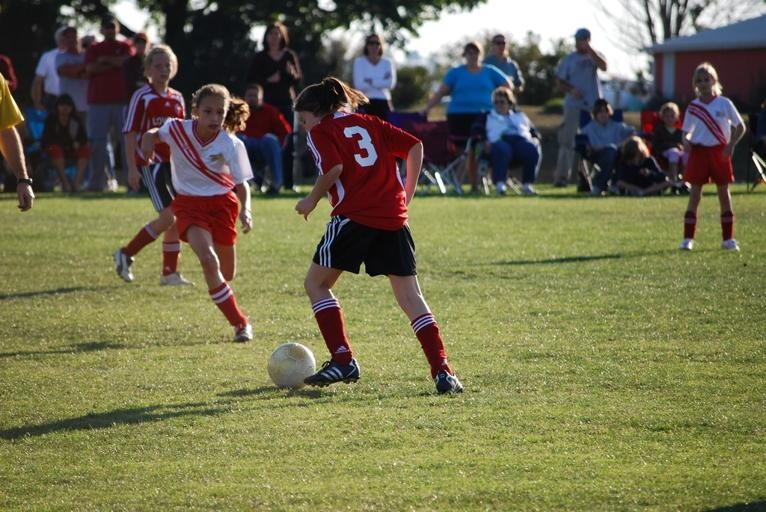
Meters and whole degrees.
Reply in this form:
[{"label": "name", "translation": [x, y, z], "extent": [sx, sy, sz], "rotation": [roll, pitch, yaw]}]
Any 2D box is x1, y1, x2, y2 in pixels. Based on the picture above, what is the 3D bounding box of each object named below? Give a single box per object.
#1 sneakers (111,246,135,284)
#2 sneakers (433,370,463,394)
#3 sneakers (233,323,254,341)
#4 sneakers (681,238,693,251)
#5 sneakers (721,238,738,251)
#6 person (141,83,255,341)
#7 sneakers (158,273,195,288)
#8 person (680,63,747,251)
[{"label": "sneakers", "translation": [-2.559, 0.114, 14.206], "extent": [0.201, 0.399, 0.141], "rotation": [-6, 8, 12]}, {"label": "sneakers", "translation": [0.543, 1.042, 11.680], "extent": [0.117, 0.137, 0.281], "rotation": [-2, -4, 43]}, {"label": "sneakers", "translation": [-1.227, 0.703, 12.704], "extent": [0.086, 0.101, 0.231], "rotation": [1, -13, -17]}, {"label": "sneakers", "translation": [3.055, -0.090, 14.337], "extent": [0.104, 0.123, 0.290], "rotation": [-2, -2, 11]}, {"label": "sneakers", "translation": [3.456, -0.089, 14.157], "extent": [0.158, 0.110, 0.183], "rotation": [0, 6, 14]}, {"label": "person", "translation": [-1.607, -0.389, 13.037], "extent": [0.873, 2.239, 1.018], "rotation": [-2, 6, 1]}, {"label": "sneakers", "translation": [-2.051, 0.267, 14.279], "extent": [0.367, 0.158, 0.123], "rotation": [1, 6, -10]}, {"label": "person", "translation": [3.330, -0.976, 14.438], "extent": [0.618, 1.829, 0.876], "rotation": [0, 6, 14]}]
